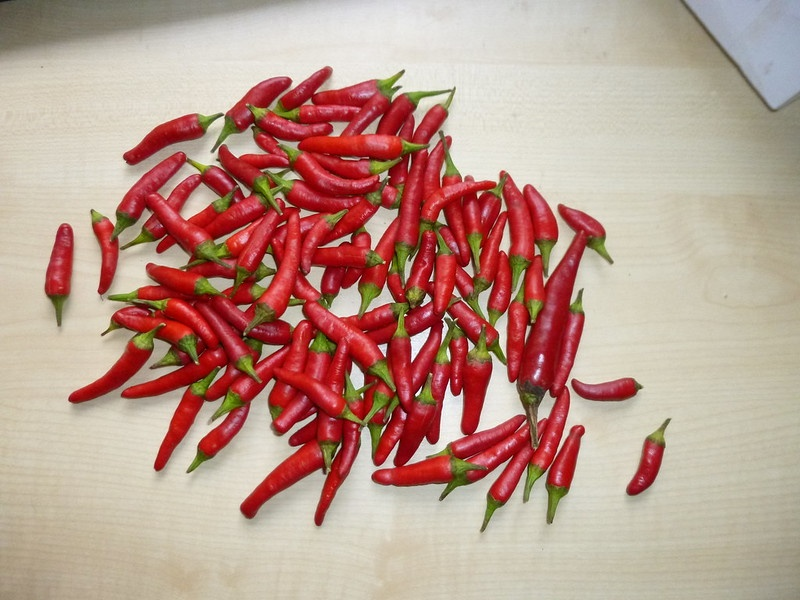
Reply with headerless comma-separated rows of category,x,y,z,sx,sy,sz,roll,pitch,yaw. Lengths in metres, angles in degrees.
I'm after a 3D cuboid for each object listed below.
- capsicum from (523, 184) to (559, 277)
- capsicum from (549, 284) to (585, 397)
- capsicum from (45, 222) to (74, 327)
capsicum,0.700,-0.361,3.889,0.129,0.133,0.455,-20,90,27
capsicum,0.807,0.231,3.788,0.104,0.122,0.624,17,83,14
capsicum,-1.648,-0.131,3.811,0.113,0.129,0.523,0,82,10
